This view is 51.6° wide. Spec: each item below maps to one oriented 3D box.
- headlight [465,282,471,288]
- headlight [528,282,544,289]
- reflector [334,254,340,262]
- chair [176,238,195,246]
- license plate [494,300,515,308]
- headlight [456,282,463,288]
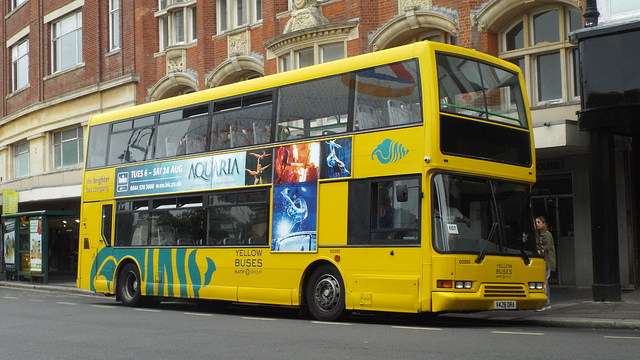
[{"bbox_3d":[3.964,2.815,17.840,0.220,0.180,0.118,2,-6,4],"label":"headlight"},{"bbox_3d":[6.123,2.998,18.861,0.538,0.179,0.110,8,-14,-38],"label":"headlight"},{"bbox_3d":[0.490,2.240,19.003,0.176,0.155,0.163,0,-2,13],"label":"reflector"},{"bbox_3d":[-4.527,2.059,22.183,0.398,0.151,0.301,-8,-4,12],"label":"chair"},{"bbox_3d":[5.067,3.406,18.271,0.695,0.206,0.099,6,-13,-31],"label":"license plate"},{"bbox_3d":[3.704,2.802,17.750,0.184,0.174,0.041,5,-1,7],"label":"headlight"}]
